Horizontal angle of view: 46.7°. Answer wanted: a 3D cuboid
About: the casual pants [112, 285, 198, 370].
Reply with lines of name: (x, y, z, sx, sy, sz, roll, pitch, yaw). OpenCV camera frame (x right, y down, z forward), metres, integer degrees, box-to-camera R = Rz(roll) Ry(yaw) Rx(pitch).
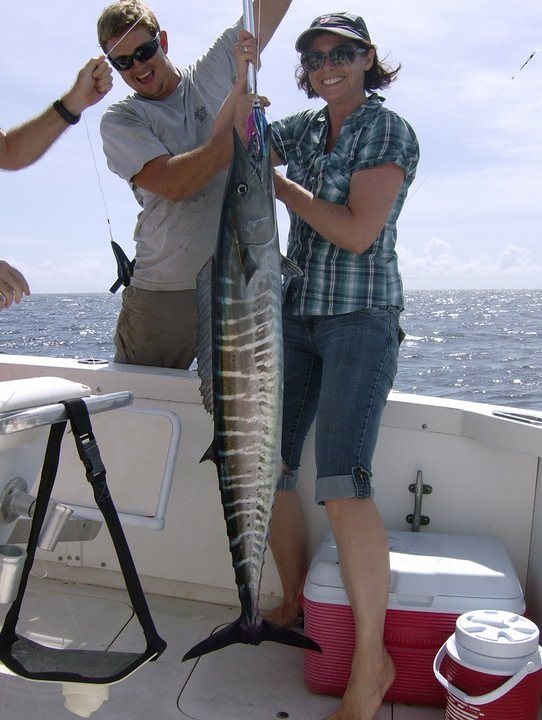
casual pants: (-0.430, -0.129, 2.387, 0.294, 0.381, 0.223, 1, 23, -19)

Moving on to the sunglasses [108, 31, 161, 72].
sunglasses: (-0.446, -1.022, 2.044, 0.163, 0.146, 0.146, -2, 9, -11)

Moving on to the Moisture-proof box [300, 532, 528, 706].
Moisture-proof box: (0.393, 0.664, 1.880, 0.599, 0.359, 0.425, 1, 8, 9)

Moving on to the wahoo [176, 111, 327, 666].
wahoo: (-0.051, 0.066, 1.332, 0.300, 1.048, 0.273, 6, 12, 12)

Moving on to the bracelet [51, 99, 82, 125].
bracelet: (-0.709, -0.863, 2.178, 0.088, 0.083, 0.077, -5, 11, -29)
